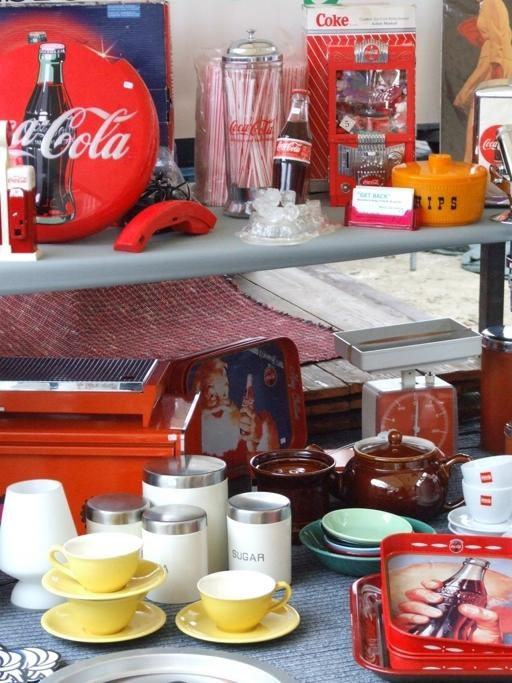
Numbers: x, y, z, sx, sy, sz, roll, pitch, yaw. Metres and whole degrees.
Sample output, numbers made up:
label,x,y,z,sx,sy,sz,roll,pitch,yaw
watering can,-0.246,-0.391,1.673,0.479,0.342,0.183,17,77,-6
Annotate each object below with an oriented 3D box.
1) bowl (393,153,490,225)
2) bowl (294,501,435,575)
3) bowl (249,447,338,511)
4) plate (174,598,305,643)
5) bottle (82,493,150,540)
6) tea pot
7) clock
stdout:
label,x,y,z,sx,sy,sz,roll,pitch,yaw
bowl,0.265,-0.231,0.947,0.134,0.082,0.128,-2,21,1
bowl,0.104,0.239,0.807,0.111,0.023,0.104,0,15,0
bowl,0.058,0.212,0.919,0.112,0.077,0.118,2,6,0
plate,-0.018,0.287,0.650,0.071,0.008,0.064,0,9,-13
bottle,-0.159,0.197,0.723,0.055,0.034,0.051,2,8,0
tea pot,0.210,0.187,0.939,0.182,0.090,0.118,0,6,4
clock,0.253,0.123,1.047,0.168,0.131,0.081,-3,11,-15
